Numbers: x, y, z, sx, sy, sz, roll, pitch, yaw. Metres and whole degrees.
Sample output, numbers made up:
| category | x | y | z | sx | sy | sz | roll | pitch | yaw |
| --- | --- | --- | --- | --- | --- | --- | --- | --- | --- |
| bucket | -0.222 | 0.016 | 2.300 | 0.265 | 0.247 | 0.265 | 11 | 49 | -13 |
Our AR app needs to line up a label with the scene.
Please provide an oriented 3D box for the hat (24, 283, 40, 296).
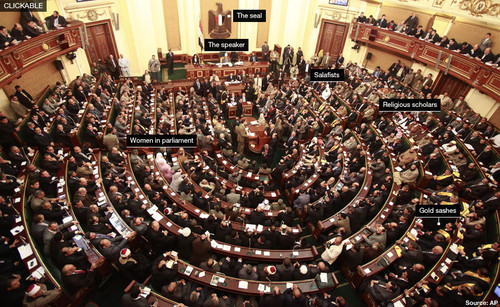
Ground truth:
| category | x | y | z | sx | sy | sz | roll | pitch | yaw |
| --- | --- | --- | --- | --- | --- | --- | --- | --- | --- |
| hat | -9.103 | 5.694 | 11.569 | 0.556 | 0.284 | 0.408 | -23 | 24 | 34 |

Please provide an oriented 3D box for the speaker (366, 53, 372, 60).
| category | x | y | z | sx | sy | sz | roll | pitch | yaw |
| --- | --- | --- | --- | --- | --- | --- | --- | --- | --- |
| speaker | 11.247 | -9.244 | 25.964 | 0.469 | 0.802 | 0.428 | 8 | 67 | 3 |

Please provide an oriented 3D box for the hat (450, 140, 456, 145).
| category | x | y | z | sx | sy | sz | roll | pitch | yaw |
| --- | --- | --- | --- | --- | --- | --- | --- | --- | --- |
| hat | 13.546 | -0.760 | 18.342 | 0.277 | 0.313 | 0.307 | 26 | -6 | -19 |

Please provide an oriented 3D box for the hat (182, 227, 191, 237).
| category | x | y | z | sx | sy | sz | roll | pitch | yaw |
| --- | --- | --- | --- | --- | --- | --- | --- | --- | --- |
| hat | -3.135 | 3.845 | 13.617 | 0.377 | 0.397 | 0.302 | -4 | 34 | -10 |

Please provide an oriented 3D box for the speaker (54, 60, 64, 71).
| category | x | y | z | sx | sy | sz | roll | pitch | yaw |
| --- | --- | --- | --- | --- | --- | --- | --- | --- | --- |
| speaker | -13.399 | -6.208 | 19.259 | 0.284 | 0.862 | 0.569 | 37 | 38 | 27 |
